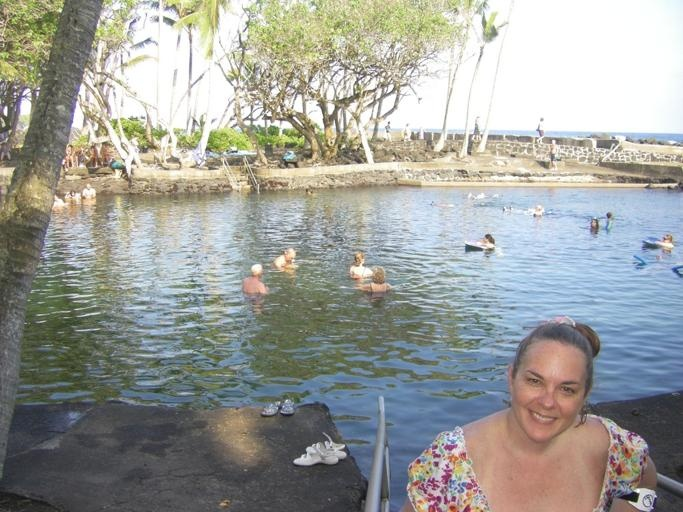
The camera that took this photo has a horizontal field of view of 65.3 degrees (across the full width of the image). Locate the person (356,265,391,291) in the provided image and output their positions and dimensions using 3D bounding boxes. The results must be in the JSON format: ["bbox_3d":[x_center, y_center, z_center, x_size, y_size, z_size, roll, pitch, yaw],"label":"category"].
[{"bbox_3d":[0.920,0.727,15.190,1.111,0.704,0.681,3,32,-5],"label":"person"}]

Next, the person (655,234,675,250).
[{"bbox_3d":[13.842,-0.596,22.460,0.905,0.336,0.648,-21,39,-28],"label":"person"}]

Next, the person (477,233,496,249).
[{"bbox_3d":[6.004,-0.556,21.737,0.709,0.333,0.779,-2,40,13],"label":"person"}]

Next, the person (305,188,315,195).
[{"bbox_3d":[-2.588,-5.179,43.372,0.903,0.433,1.082,1,28,-3],"label":"person"}]

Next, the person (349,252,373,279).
[{"bbox_3d":[0.622,0.361,17.511,0.806,0.764,0.494,8,41,14],"label":"person"}]
